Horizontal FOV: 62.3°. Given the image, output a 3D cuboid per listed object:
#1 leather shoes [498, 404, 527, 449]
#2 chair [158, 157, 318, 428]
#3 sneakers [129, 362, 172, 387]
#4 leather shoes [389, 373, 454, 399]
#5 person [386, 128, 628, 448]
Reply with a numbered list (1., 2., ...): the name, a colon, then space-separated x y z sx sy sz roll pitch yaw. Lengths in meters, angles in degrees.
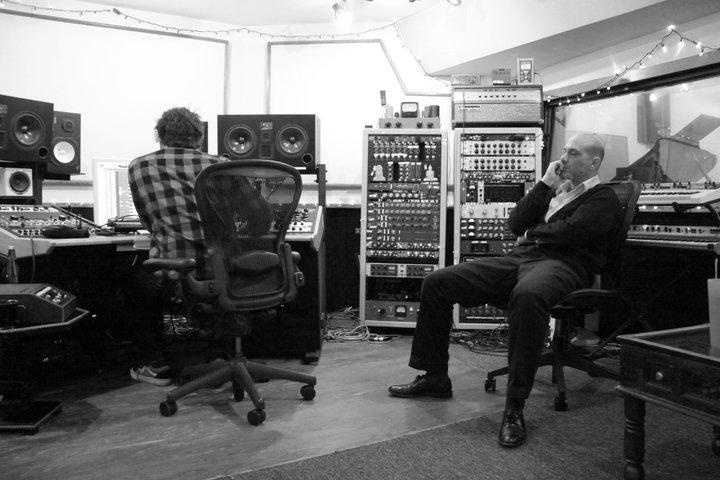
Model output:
1. leather shoes: 0.954 1.110 3.650 0.153 0.201 0.281 7 14 29
2. chair: -0.704 0.297 3.751 0.965 1.496 0.931 2 9 -19
3. sneakers: -1.557 0.999 4.468 0.344 0.133 0.137 4 -3 15
4. leather shoes: 0.449 1.016 4.277 0.440 0.196 0.176 3 -6 5
5. person: 1.094 0.193 4.153 1.420 1.771 0.939 -11 16 -42
